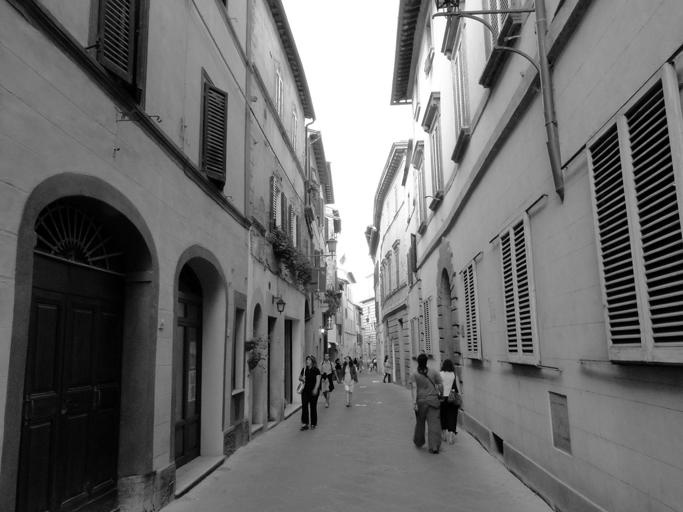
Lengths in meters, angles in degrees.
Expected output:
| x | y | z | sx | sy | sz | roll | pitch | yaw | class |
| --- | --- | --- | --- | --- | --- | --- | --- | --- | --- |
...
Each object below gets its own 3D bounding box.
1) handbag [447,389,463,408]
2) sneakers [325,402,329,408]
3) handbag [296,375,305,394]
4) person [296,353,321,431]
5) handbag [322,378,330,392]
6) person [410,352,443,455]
| x | y | z | sx | sy | sz | roll | pitch | yaw | class |
| --- | --- | --- | --- | --- | --- | --- | --- | --- | --- |
| 2.383 | 2.991 | 10.801 | 0.336 | 0.403 | 0.160 | 18 | -28 | -36 | handbag |
| -0.515 | 5.367 | 18.337 | 0.155 | 0.230 | 0.315 | -2 | -3 | 2 | sneakers |
| -1.058 | 3.400 | 13.541 | 0.190 | 0.436 | 0.639 | 0 | -8 | -4 | handbag |
| -0.839 | 3.607 | 13.692 | 0.561 | 1.819 | 1.095 | 0 | -7 | -1 | person |
| -0.551 | 4.576 | 18.240 | 0.220 | 0.490 | 0.892 | 0 | -9 | -7 | handbag |
| 1.712 | 2.906 | 10.284 | 0.655 | 1.868 | 0.741 | -4 | -7 | 30 | person |
